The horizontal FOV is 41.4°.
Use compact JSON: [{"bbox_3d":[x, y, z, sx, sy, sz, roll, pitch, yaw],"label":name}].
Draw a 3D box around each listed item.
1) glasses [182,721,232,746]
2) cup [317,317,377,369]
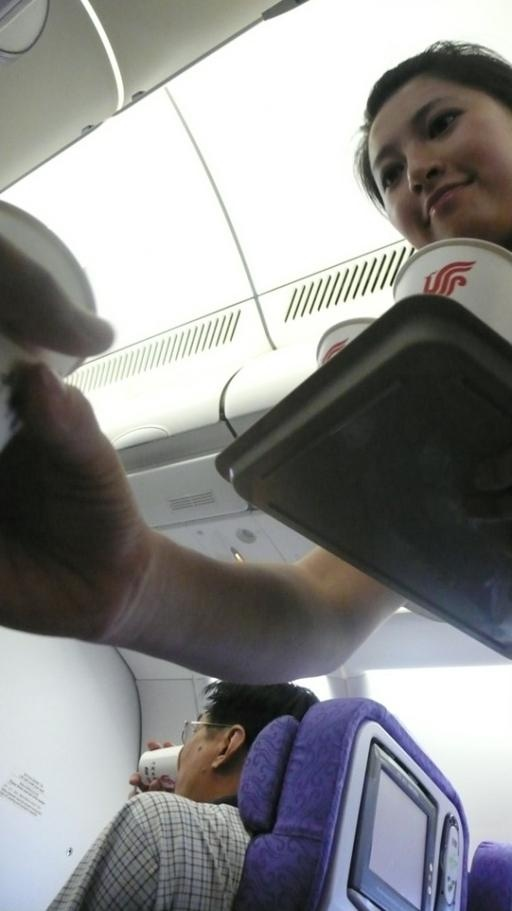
[{"bbox_3d":[-0.148,0.856,2.090,0.165,0.057,0.178,-4,-34,6],"label":"glasses"},{"bbox_3d":[0.069,-0.094,0.578,0.027,0.032,0.086,15,-14,-15],"label":"cup"}]
